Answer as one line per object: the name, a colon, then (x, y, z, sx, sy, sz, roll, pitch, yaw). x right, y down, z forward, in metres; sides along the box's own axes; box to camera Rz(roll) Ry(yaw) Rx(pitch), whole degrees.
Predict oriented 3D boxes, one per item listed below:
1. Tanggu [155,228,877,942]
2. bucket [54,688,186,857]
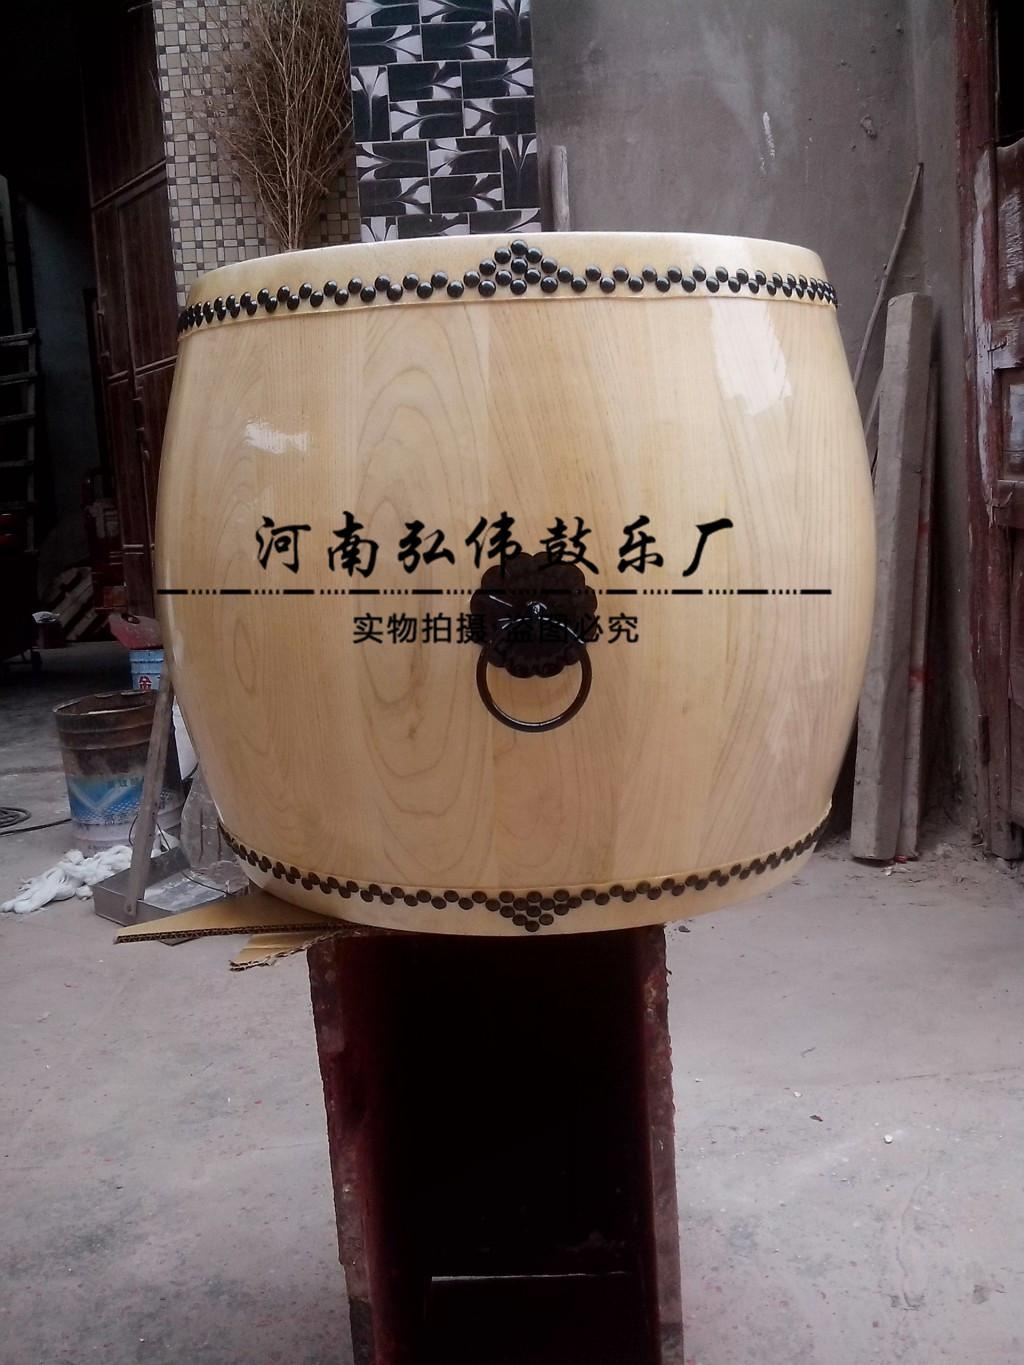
Tanggu: (0.008, -0.050, 0.896, 0.391, 0.412, 0.451, -1, 7, 0)
bucket: (-1.280, 0.293, 3.817, 0.429, 0.458, 0.449, -1, 10, 0)
